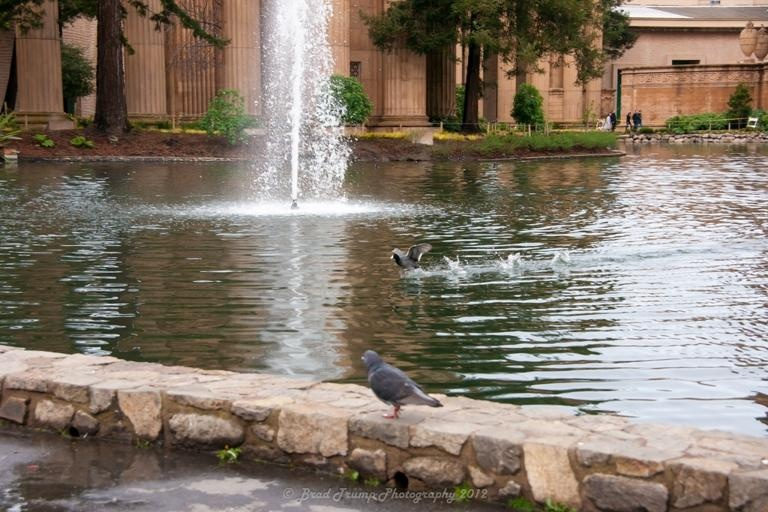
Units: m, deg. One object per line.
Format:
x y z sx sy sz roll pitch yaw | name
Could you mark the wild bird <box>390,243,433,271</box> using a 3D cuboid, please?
0.478 -0.015 16.243 0.510 0.198 0.557 -19 2 -36 | wild bird
